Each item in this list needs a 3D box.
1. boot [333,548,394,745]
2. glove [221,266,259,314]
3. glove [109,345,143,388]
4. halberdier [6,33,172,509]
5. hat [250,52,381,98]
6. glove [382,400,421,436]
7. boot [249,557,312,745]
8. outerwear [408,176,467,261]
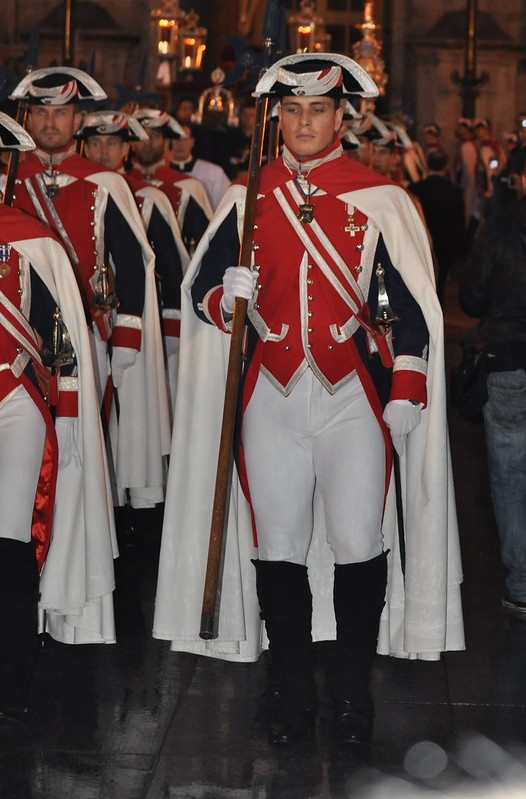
[{"bbox_3d":[0.280,0.755,2.976,0.157,0.561,0.217,4,7,4],"label":"boot"},{"bbox_3d":[-0.071,-0.328,2.980,0.104,0.147,0.224,3,6,-1],"label":"glove"},{"bbox_3d":[-0.665,-0.152,4.664,0.121,0.176,0.072,7,9,-1],"label":"glove"},{"bbox_3d":[-0.911,-0.396,4.749,0.999,2.386,0.713,-1,25,-2],"label":"halberdier"},{"bbox_3d":[0.166,-0.987,3.029,0.368,0.130,0.187,2,6,-3],"label":"hat"},{"bbox_3d":[0.418,0.051,2.999,0.093,0.108,0.121,0,2,3],"label":"glove"},{"bbox_3d":[0.086,0.792,3.067,0.186,0.589,0.268,-8,-3,0],"label":"boot"},{"bbox_3d":[1.927,-1.990,10.680,0.808,1.159,0.379,-2,1,10],"label":"outerwear"}]
